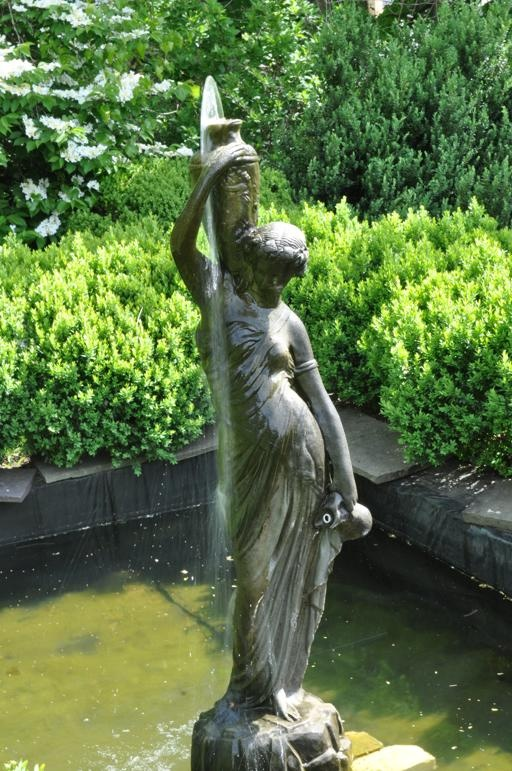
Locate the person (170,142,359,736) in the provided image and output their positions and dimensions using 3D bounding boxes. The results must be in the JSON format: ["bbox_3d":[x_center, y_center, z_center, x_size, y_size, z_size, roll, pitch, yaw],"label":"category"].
[{"bbox_3d":[0.121,0.376,4.064,0.557,2.029,0.257,-3,9,-3],"label":"person"}]
